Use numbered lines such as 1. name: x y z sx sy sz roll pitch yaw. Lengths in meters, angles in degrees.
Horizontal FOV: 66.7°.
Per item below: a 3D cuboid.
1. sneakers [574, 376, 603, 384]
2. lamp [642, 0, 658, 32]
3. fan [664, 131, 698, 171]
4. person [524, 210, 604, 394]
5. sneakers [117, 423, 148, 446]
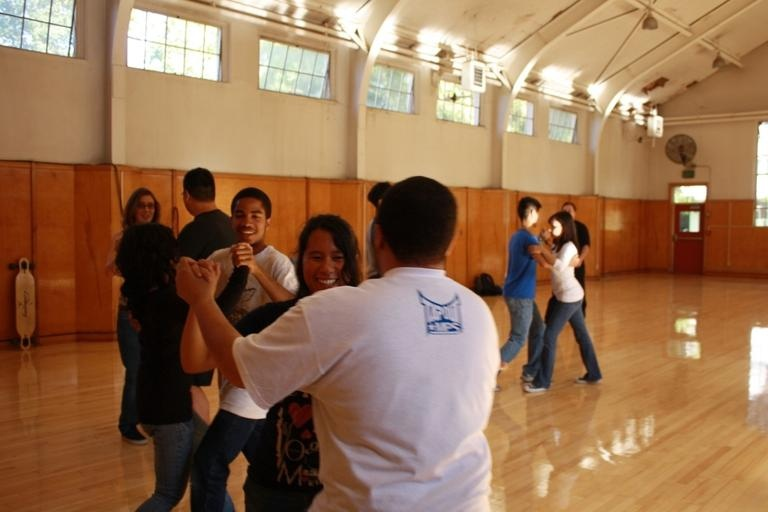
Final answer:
1. sneakers: 2.546 1.548 7.247 0.312 0.144 0.118 -1 0 22
2. lamp: 5.832 -5.273 12.735 0.281 0.792 1.443 4 10 24
3. fan: 9.440 -3.331 18.483 0.928 1.025 0.283 6 10 31
4. person: 2.227 0.550 7.095 0.790 2.134 0.930 4 9 25
5. sneakers: -2.483 1.760 5.816 0.267 0.186 0.150 5 8 2
